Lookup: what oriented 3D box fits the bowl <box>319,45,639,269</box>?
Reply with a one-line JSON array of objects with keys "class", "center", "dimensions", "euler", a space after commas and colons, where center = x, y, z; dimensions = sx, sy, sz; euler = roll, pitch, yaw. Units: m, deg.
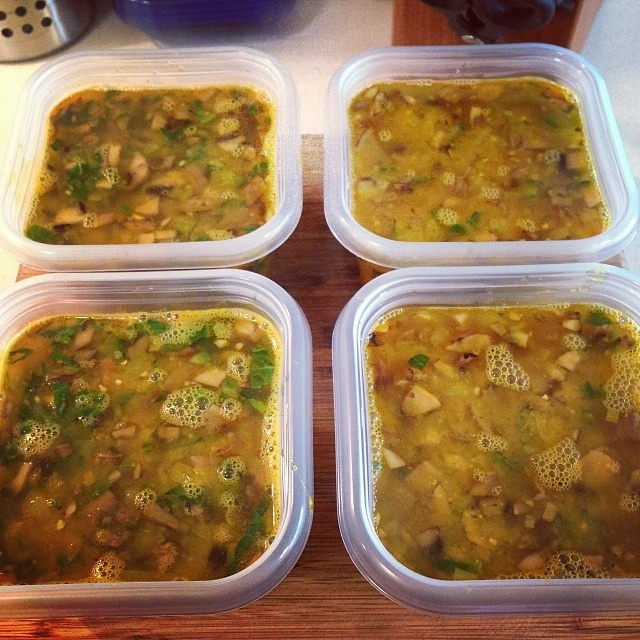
[{"class": "bowl", "center": [0.354, -0.384, 1.560], "dimensions": [0.689, 0.127, 0.579], "euler": [-2, 64, 1]}]
